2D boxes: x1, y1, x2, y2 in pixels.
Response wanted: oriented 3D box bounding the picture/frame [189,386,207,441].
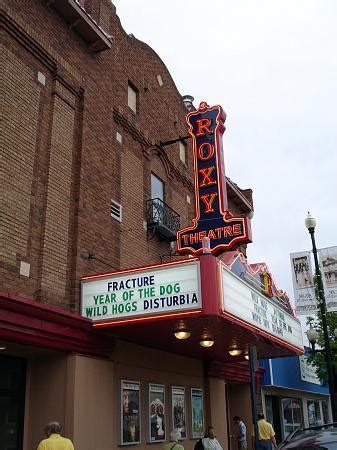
[{"bbox_3d":[0.897,5.906,13.564,0.182,1.731,1.294,-6,-19,22],"label":"picture/frame"}]
